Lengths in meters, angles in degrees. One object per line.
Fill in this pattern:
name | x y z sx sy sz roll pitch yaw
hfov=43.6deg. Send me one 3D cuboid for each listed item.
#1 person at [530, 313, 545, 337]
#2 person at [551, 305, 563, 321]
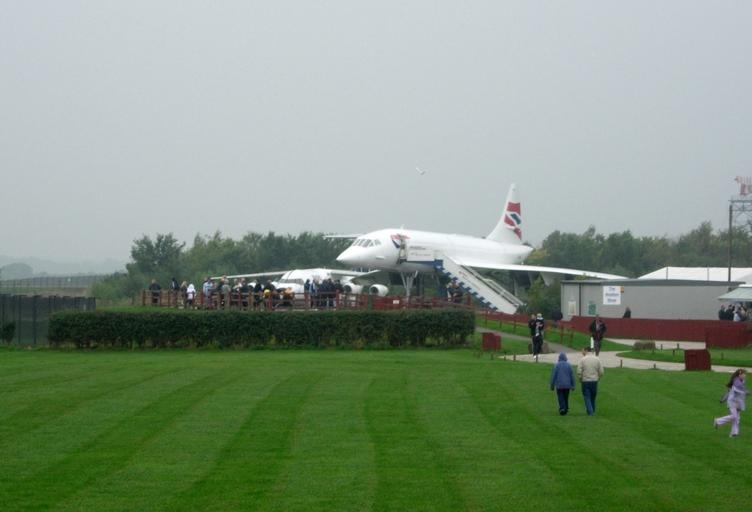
person | 7.978 3.447 46.824 0.649 1.380 1.884 2 8 8
person | 12.398 3.989 64.729 0.727 1.037 1.027 2 19 5
